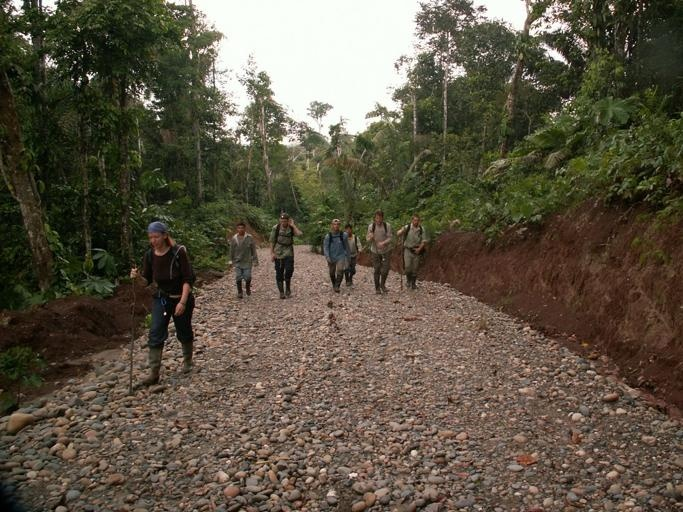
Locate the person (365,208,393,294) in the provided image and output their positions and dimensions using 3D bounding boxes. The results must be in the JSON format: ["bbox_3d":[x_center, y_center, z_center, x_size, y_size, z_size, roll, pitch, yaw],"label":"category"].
[{"bbox_3d":[1.010,-0.113,14.459,0.610,2.076,1.156,-2,11,3],"label":"person"}]

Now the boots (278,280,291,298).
[{"bbox_3d":[-1.496,0.886,14.629,0.416,0.530,0.419,-1,-8,-10],"label":"boots"}]

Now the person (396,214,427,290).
[{"bbox_3d":[1.870,-0.080,14.621,0.657,1.932,0.777,-1,11,7],"label":"person"}]

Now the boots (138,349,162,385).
[{"bbox_3d":[-3.151,1.811,9.177,0.407,0.582,0.235,-10,13,-36],"label":"boots"}]

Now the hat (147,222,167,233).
[{"bbox_3d":[-3.060,-0.466,9.134,0.203,0.133,0.208,12,7,31],"label":"hat"}]

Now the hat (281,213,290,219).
[{"bbox_3d":[-1.411,-0.999,13.882,0.134,0.128,0.161,10,15,25],"label":"hat"}]

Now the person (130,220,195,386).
[{"bbox_3d":[-2.878,0.747,9.271,0.870,2.607,0.624,-5,11,-16],"label":"person"}]

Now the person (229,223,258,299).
[{"bbox_3d":[-2.575,0.104,14.595,0.663,2.015,0.830,-4,11,-10],"label":"person"}]

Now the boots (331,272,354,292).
[{"bbox_3d":[-0.078,0.702,14.883,0.525,0.586,0.470,-10,-4,34],"label":"boots"}]

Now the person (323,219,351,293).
[{"bbox_3d":[-0.100,-0.012,14.707,0.650,1.981,0.975,-2,11,0],"label":"person"}]
